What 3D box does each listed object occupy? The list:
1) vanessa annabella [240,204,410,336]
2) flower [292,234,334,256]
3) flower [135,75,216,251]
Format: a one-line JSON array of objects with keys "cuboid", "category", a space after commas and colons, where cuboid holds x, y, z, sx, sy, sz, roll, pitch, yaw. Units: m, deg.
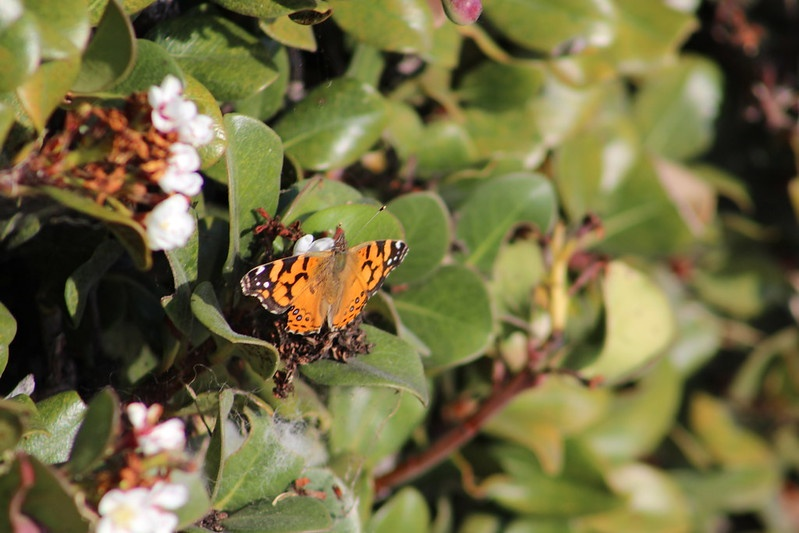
[{"cuboid": [-0.118, 0.022, 1.624, 0.254, 0.070, 0.171, -8, 85, -34], "category": "vanessa annabella"}, {"cuboid": [-0.135, -0.033, 1.625, 0.049, 0.012, 0.036, -18, 83, -31], "category": "flower"}, {"cuboid": [-0.323, -0.143, 1.548, 0.100, 0.223, 0.206, 2, 43, -11], "category": "flower"}]
